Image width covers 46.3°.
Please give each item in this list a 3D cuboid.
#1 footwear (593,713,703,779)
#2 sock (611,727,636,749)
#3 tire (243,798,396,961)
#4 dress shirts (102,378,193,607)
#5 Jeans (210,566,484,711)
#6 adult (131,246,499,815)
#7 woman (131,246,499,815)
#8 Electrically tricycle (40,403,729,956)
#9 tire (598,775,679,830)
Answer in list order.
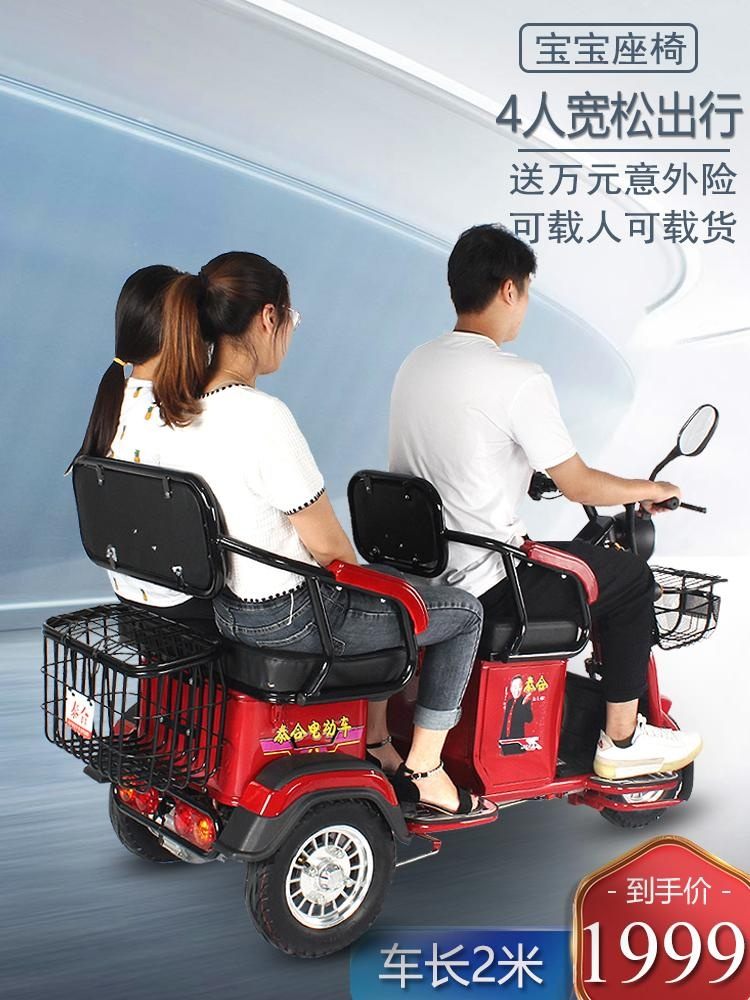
[{"bbox_3d":[0.683,0.630,2.266,0.346,0.151,0.116,-4,5,-27],"label":"footwear"},{"bbox_3d":[0.616,0.586,2.156,0.034,0.024,0.044,-18,-6,27],"label":"sock"},{"bbox_3d":[-0.099,0.708,1.636,0.091,0.313,0.299,4,3,45],"label":"tire"},{"bbox_3d":[-0.372,-0.010,1.666,0.248,0.388,0.092,9,14,37],"label":"dress shirts"},{"bbox_3d":[-0.055,0.239,1.792,0.455,0.350,0.324,7,-3,-25],"label":"Jeans"},{"bbox_3d":[-0.089,0.089,1.756,0.715,1.015,0.477,-1,5,-37],"label":"adult"},{"bbox_3d":[-0.080,0.078,1.760,0.731,1.021,0.483,0,5,-31],"label":"woman"},{"bbox_3d":[0.048,0.323,2.443,2.040,1.138,0.903,-6,10,-38],"label":"Electrically tricycle"},{"bbox_3d":[0.702,0.806,2.324,0.226,0.060,0.224,-1,8,33],"label":"tire"}]
